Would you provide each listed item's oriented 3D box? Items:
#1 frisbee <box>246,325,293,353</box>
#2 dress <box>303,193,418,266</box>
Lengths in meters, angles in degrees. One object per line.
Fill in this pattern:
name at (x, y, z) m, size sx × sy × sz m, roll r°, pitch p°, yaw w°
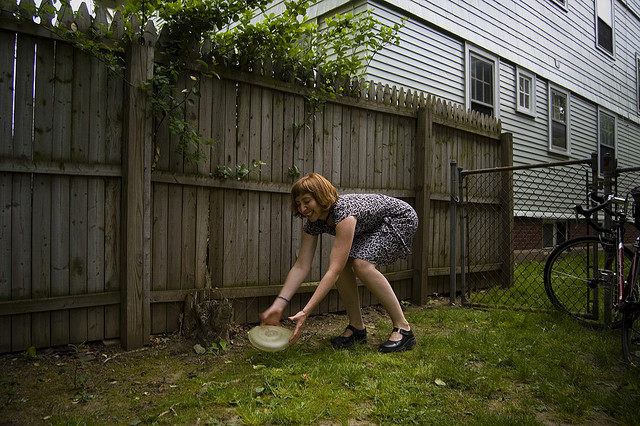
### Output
frisbee at (-0.454, 1.166, 4.841) m, size 0.422 × 0.133 × 0.444 m, roll 1°, pitch 10°, yaw -37°
dress at (0.471, 0.152, 5.590) m, size 1.188 × 0.763 × 0.862 m, roll 0°, pitch 8°, yaw -16°
